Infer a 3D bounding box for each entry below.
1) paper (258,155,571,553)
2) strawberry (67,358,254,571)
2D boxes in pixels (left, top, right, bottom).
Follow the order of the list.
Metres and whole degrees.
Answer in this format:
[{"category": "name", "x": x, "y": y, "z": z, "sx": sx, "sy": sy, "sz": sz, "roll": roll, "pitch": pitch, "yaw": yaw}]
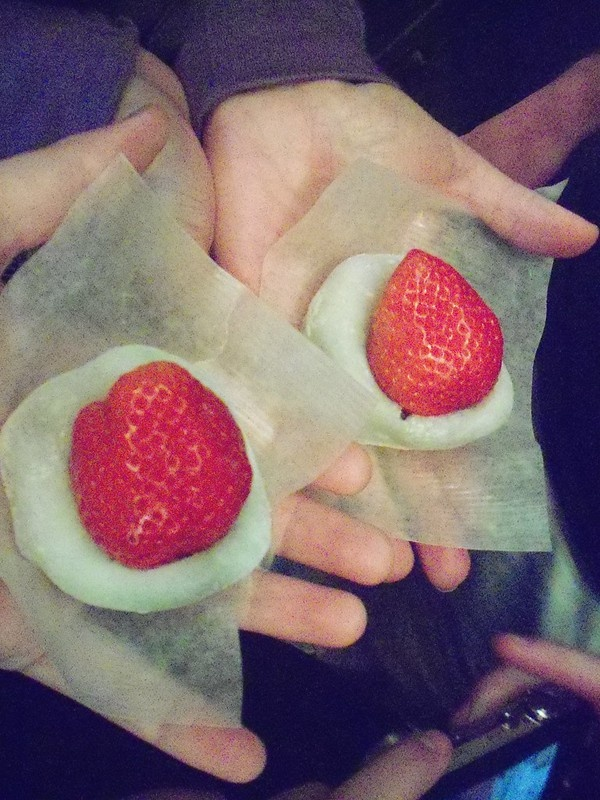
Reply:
[{"category": "paper", "x": 0.062, "y": -0.032, "z": 0.739, "sx": 0.237, "sy": 0.071, "sz": 0.250, "roll": 8, "pitch": 91, "yaw": -35}, {"category": "strawberry", "x": -0.086, "y": 0.039, "z": 0.595, "sx": 0.100, "sy": 0.048, "sz": 0.111, "roll": -20, "pitch": 81, "yaw": -1}]
